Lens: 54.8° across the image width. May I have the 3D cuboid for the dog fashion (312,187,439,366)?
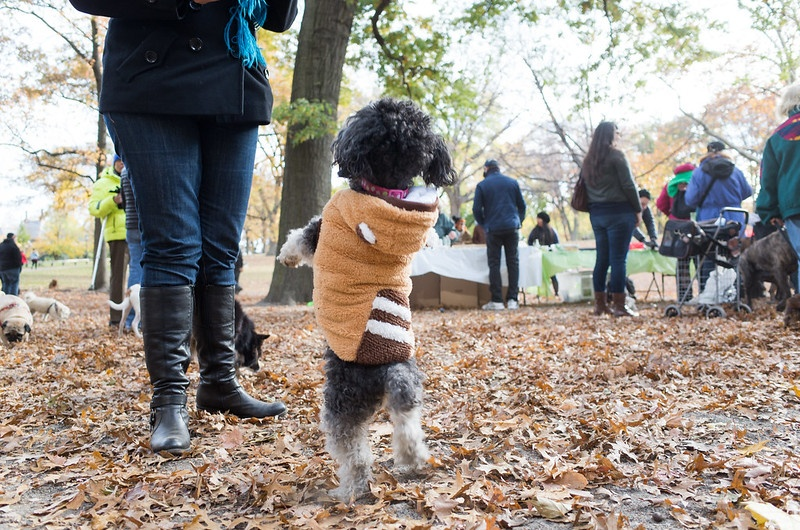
[{"bbox_3d":[-0.357,0.184,6.352,1.121,0.576,1.410,24,-28,-10],"label":"dog fashion"}]

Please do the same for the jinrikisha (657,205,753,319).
[{"bbox_3d":[4.068,-0.057,10.292,1.099,1.491,1.089,-1,-4,23],"label":"jinrikisha"}]

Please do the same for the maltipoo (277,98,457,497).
[{"bbox_3d":[-0.177,0.261,6.216,1.044,3.257,0.370,2,-4,-8],"label":"maltipoo"}]
